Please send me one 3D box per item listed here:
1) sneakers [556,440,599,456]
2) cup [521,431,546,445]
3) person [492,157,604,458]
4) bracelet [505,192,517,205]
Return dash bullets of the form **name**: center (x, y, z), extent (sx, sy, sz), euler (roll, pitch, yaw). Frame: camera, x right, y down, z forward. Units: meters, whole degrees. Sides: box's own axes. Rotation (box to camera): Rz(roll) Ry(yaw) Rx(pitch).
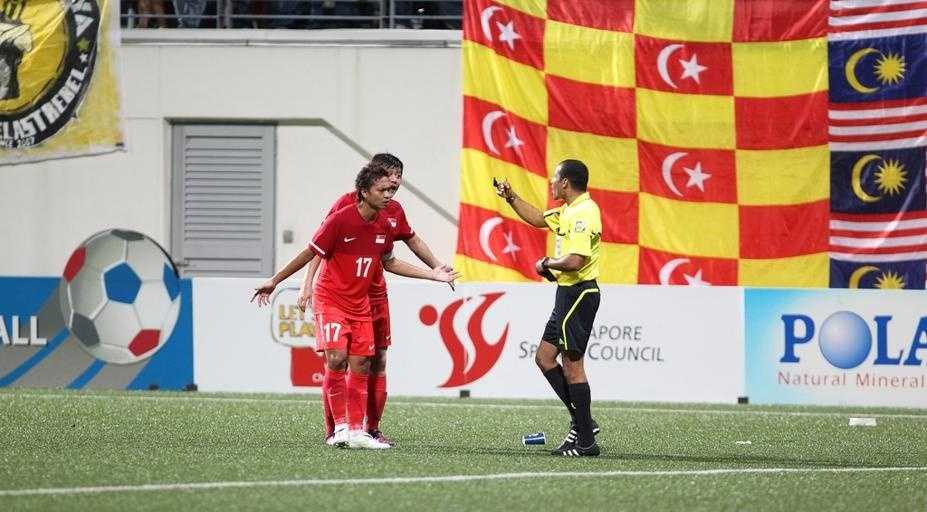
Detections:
- **sneakers**: center (1.602, 2.679, 23.953), extent (0.635, 0.200, 0.220), euler (3, -8, 1)
- **cup**: center (1.016, 2.635, 24.513), extent (0.304, 0.195, 0.196), euler (-2, -37, -4)
- **person**: center (1.525, 0.703, 23.948), extent (0.940, 4.128, 0.524), euler (2, -3, 4)
- **bracelet**: center (0.682, -0.821, 24.270), extent (0.130, 0.156, 0.094), euler (-2, -6, 1)
